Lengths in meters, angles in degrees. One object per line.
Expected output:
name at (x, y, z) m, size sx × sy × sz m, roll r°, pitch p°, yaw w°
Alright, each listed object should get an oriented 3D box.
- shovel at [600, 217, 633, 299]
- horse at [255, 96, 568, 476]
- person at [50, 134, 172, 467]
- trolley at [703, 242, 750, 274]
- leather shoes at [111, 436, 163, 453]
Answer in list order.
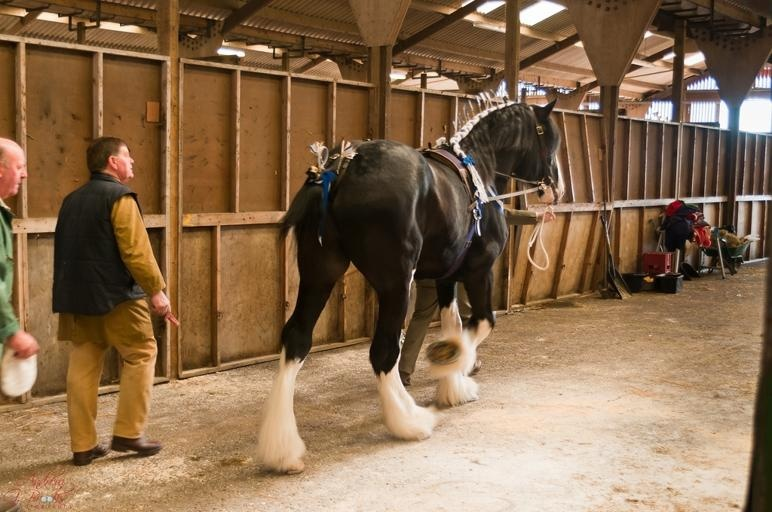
shovel at (3.475, -0.072, 11.112) m, size 0.518 × 1.209 × 1.096 m, roll 4°, pitch 15°, yaw 12°
horse at (0.114, 0.281, 6.577) m, size 1.203 × 3.165 × 3.789 m, roll -1°, pitch 0°, yaw 41°
person at (-2.121, 0.336, 5.648) m, size 0.813 × 2.428 × 0.693 m, roll -6°, pitch 16°, yaw -24°
trolley at (6.295, 0.003, 13.424) m, size 0.715 × 0.349 × 0.438 m, roll -4°, pitch 11°, yaw -21°
leather shoes at (-1.952, 1.458, 5.744) m, size 0.353 × 0.161 × 0.157 m, roll 3°, pitch 4°, yaw -24°
